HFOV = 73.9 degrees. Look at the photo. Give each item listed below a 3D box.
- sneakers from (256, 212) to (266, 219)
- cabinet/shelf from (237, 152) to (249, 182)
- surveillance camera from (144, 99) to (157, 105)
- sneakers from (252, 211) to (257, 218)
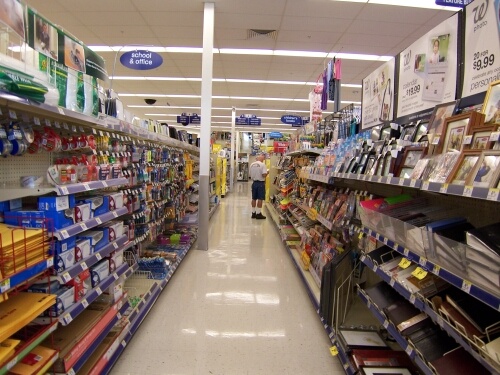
[{"bbox_3d":[0.259,0.713,8.402,0.283,0.218,0.105,-4,9,-40],"label":"sneakers"},{"bbox_3d":[-0.567,-1.355,23.222,1.004,1.839,1.102,5,1,22],"label":"cabinet/shelf"},{"bbox_3d":[-3.740,-3.286,12.511,0.380,0.154,0.408,-2,-18,0],"label":"surveillance camera"},{"bbox_3d":[0.099,0.688,8.368,0.158,0.220,0.465,-1,-1,2],"label":"sneakers"}]
